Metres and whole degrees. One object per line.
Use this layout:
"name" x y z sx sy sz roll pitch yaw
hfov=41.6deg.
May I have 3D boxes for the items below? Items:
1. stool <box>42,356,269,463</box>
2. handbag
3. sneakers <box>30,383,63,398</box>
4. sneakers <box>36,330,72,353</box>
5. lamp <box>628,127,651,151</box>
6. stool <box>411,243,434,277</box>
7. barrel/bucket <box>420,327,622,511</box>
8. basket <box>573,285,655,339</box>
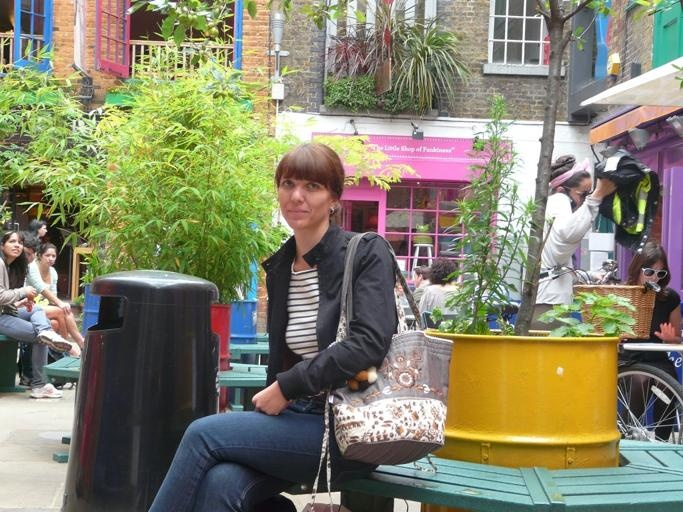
"stool" -1.321 1.041 7.390 1.140 1.220 1.164 1 -2 34
"handbag" 0.295 0.722 4.646 0.645 0.637 0.357 4 -23 -20
"sneakers" -3.166 1.449 9.633 0.340 0.161 0.157 0 3 -12
"sneakers" -3.093 0.923 9.612 0.335 0.121 0.155 34 13 10
"lamp" 3.690 -1.449 11.140 0.235 0.224 0.297 2 -1 16
"stool" 1.395 0.061 15.498 0.522 0.682 0.486 1 -4 2
"barrel/bucket" 1.019 0.971 5.542 1.002 1.055 1.033 0 1 0
"basket" 1.877 0.397 6.187 0.519 0.328 0.982 2 -1 18
